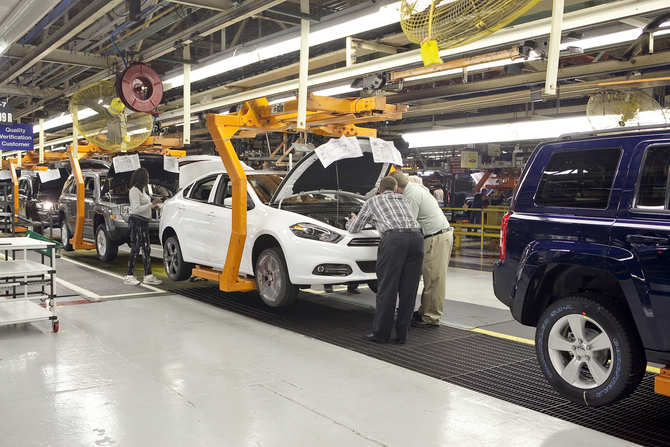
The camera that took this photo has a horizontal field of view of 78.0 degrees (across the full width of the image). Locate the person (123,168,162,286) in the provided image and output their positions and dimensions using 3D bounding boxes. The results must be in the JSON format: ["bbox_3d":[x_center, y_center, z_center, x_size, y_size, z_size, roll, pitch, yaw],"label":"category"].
[{"bbox_3d":[-4.334,0.010,9.206,0.723,2.538,1.225,-3,6,-25],"label":"person"}]

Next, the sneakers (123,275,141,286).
[{"bbox_3d":[-4.350,1.195,8.932,0.450,0.179,0.178,-1,-3,31],"label":"sneakers"}]

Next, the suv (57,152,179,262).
[{"bbox_3d":[-6.621,-0.492,12.928,2.615,2.508,5.133,1,-2,-38],"label":"suv"}]

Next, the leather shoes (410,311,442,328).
[{"bbox_3d":[1.402,1.530,6.614,0.520,0.193,0.173,-2,-1,9],"label":"leather shoes"}]

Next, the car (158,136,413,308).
[{"bbox_3d":[-1.298,-0.140,8.495,5.596,2.545,2.687,4,4,44],"label":"car"}]

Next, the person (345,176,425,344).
[{"bbox_3d":[0.745,0.592,5.708,0.865,2.094,0.517,1,6,12],"label":"person"}]

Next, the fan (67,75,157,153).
[{"bbox_3d":[-4.720,-2.437,9.293,1.802,1.725,0.585,34,29,-2],"label":"fan"}]

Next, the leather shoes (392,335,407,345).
[{"bbox_3d":[0.892,1.606,5.756,0.100,0.091,0.232,0,-12,-6],"label":"leather shoes"}]

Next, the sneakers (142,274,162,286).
[{"bbox_3d":[-3.945,1.188,9.044,0.503,0.186,0.193,1,4,-16],"label":"sneakers"}]

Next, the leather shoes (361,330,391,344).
[{"bbox_3d":[0.536,1.558,5.833,0.418,0.148,0.154,6,2,43],"label":"leather shoes"}]

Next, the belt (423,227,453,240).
[{"bbox_3d":[1.592,0.120,6.430,0.525,0.163,0.145,-3,6,-28],"label":"belt"}]
